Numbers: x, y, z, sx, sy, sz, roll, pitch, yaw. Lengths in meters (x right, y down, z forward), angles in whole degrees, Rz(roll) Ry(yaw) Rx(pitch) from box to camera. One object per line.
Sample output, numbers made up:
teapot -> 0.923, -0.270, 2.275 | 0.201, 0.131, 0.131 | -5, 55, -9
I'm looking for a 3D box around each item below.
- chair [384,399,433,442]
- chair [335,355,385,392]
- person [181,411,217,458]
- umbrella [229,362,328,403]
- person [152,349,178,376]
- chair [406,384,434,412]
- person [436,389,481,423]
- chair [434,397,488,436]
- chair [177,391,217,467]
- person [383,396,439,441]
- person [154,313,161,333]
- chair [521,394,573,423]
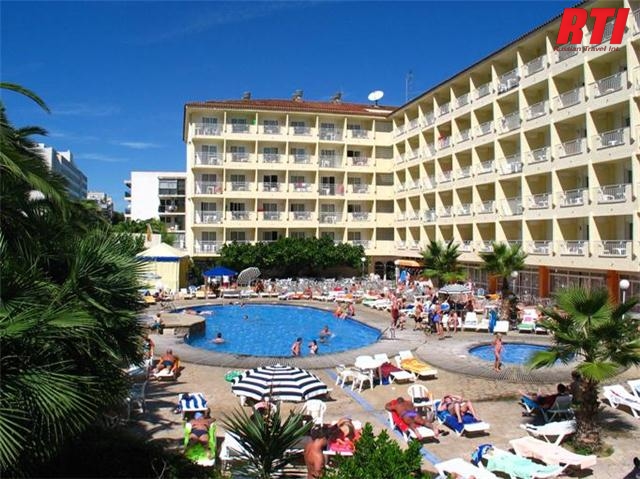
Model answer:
chair -> 2.337, 4.630, 14.267 | 0.939, 0.510, 1.799 | -3, 8, -17
chair -> 1.404, 4.460, 18.655 | 0.925, 0.548, 1.489 | -2, -2, 29
person -> -2.821, 4.587, 12.966 | 0.774, 0.439, 1.335 | 3, 29, -15
umbrella -> -1.096, 3.969, 15.156 | 1.834, 0.639, 1.882 | 4, 5, 15
person -> -5.228, 4.260, 19.052 | 0.606, 0.432, 1.009 | -1, 17, -5
chair -> 2.953, 4.669, 16.407 | 0.597, 0.969, 0.731 | -2, -10, -5
person -> 3.633, 4.429, 14.740 | 0.596, 0.310, 0.917 | -4, -1, -12
chair -> 3.643, 4.647, 14.547 | 0.646, 0.432, 1.210 | -2, -2, -15
chair -> -3.032, 4.484, 13.850 | 0.622, 0.653, 2.371 | 3, 21, -14
person -> 2.307, 4.609, 14.238 | 0.936, 0.369, 1.757 | 0, 11, -12
person -> -7.728, 4.039, 26.537 | 0.327, 0.796, 0.745 | 2, -3, -16
chair -> 6.196, 4.557, 15.263 | 0.733, 0.774, 1.154 | 0, -1, -18
